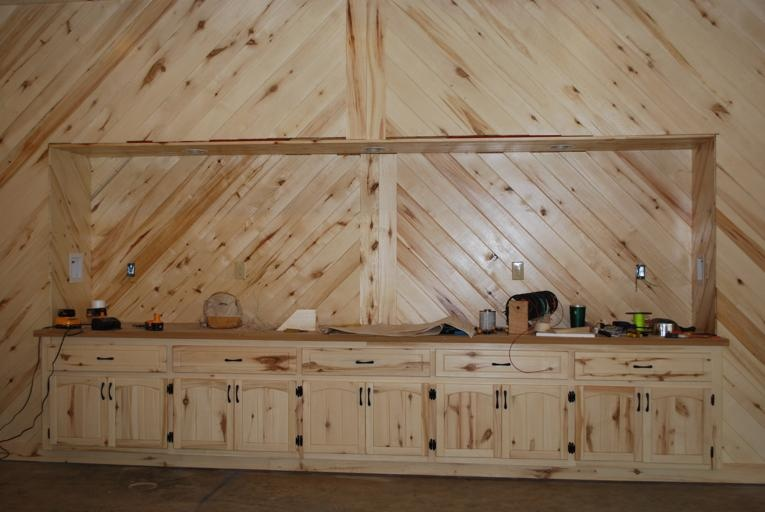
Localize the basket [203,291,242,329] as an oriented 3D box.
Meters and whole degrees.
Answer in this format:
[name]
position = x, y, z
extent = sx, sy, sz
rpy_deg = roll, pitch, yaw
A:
[basket]
position = -1.429, 0.513, 8.481
extent = 0.449, 0.351, 0.320
rpy_deg = -1, -1, 34
